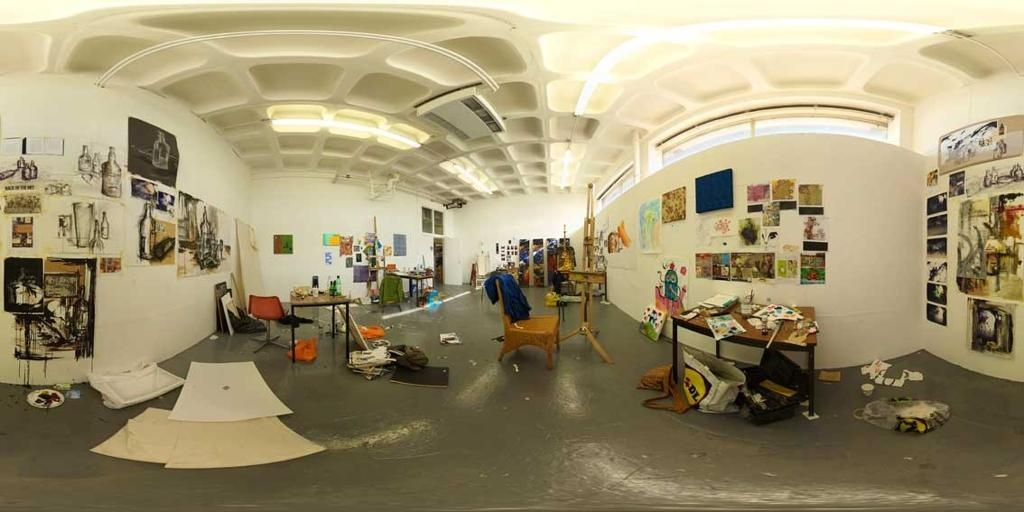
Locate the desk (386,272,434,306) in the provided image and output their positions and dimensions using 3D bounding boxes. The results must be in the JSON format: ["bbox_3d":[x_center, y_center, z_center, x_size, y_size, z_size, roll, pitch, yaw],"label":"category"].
[{"bbox_3d":[-2.752,0.811,15.149,1.194,0.817,2.528,0,-1,-8],"label":"desk"}]

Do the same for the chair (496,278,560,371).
[{"bbox_3d":[0.214,1.293,11.406,1.713,1.792,1.480,-1,4,11],"label":"chair"}]

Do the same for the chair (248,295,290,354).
[{"bbox_3d":[-4.703,1.238,11.309,0.876,1.007,0.758,4,3,-6],"label":"chair"}]

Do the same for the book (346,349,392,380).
[{"bbox_3d":[-2.594,1.926,10.361,0.667,0.196,0.465,2,10,-1],"label":"book"}]

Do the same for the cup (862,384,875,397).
[{"bbox_3d":[6.020,2.250,9.703,0.174,0.097,0.236,-4,-7,39],"label":"cup"}]

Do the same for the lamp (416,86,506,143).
[{"bbox_3d":[-1.065,-2.993,11.975,1.479,0.678,1.447,0,-1,19],"label":"lamp"}]

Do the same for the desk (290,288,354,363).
[{"bbox_3d":[-3.581,1.316,11.214,1.641,1.221,1.307,0,-1,-18],"label":"desk"}]
